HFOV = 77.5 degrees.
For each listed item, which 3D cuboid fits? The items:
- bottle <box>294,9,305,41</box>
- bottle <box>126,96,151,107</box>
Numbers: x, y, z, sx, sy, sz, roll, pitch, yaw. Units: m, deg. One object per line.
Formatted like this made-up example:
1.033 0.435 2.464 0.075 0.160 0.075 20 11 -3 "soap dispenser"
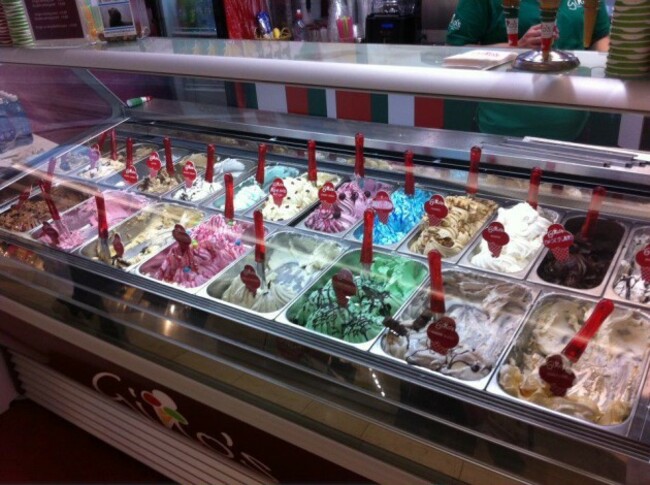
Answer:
-0.264 -2.242 4.194 0.106 0.270 0.087 -6 33 -3 "bottle"
-1.047 -0.789 2.271 0.103 0.030 0.032 -22 30 -36 "bottle"
